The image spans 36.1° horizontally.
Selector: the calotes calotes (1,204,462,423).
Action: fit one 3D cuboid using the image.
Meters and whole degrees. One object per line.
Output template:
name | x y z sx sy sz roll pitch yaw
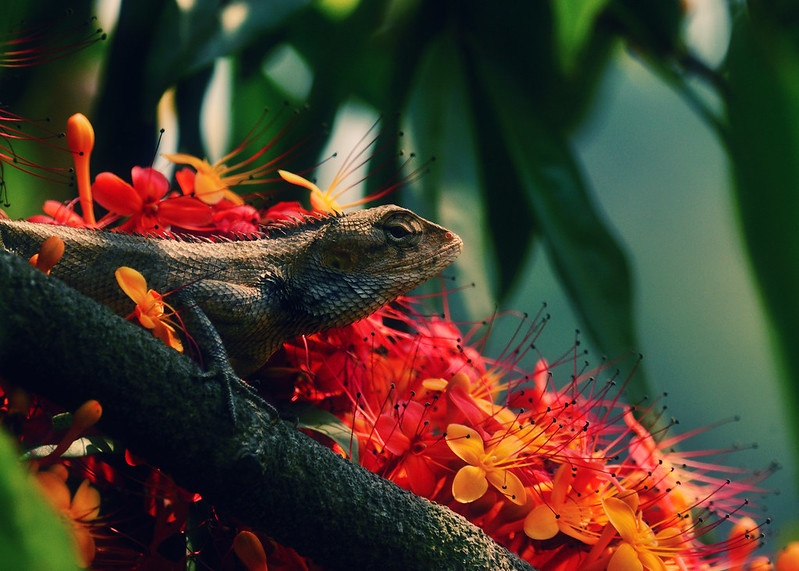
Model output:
calotes calotes | -0.381 -0.031 3.090 1.074 0.407 0.432 16 -40 1
